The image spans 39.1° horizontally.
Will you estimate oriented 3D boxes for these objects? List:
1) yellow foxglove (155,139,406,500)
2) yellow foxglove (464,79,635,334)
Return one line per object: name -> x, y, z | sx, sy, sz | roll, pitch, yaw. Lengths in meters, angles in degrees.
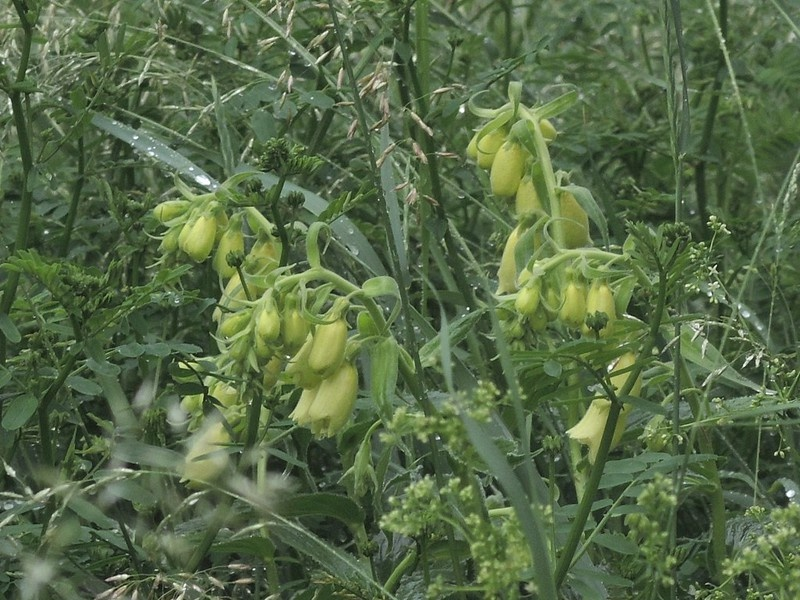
yellow foxglove -> -0.211, 0.039, 1.910 | 0.385, 0.653, 0.495 | -3, 20, -15
yellow foxglove -> 0.256, -0.156, 1.884 | 0.218, 0.354, 0.455 | -2, 21, -12
